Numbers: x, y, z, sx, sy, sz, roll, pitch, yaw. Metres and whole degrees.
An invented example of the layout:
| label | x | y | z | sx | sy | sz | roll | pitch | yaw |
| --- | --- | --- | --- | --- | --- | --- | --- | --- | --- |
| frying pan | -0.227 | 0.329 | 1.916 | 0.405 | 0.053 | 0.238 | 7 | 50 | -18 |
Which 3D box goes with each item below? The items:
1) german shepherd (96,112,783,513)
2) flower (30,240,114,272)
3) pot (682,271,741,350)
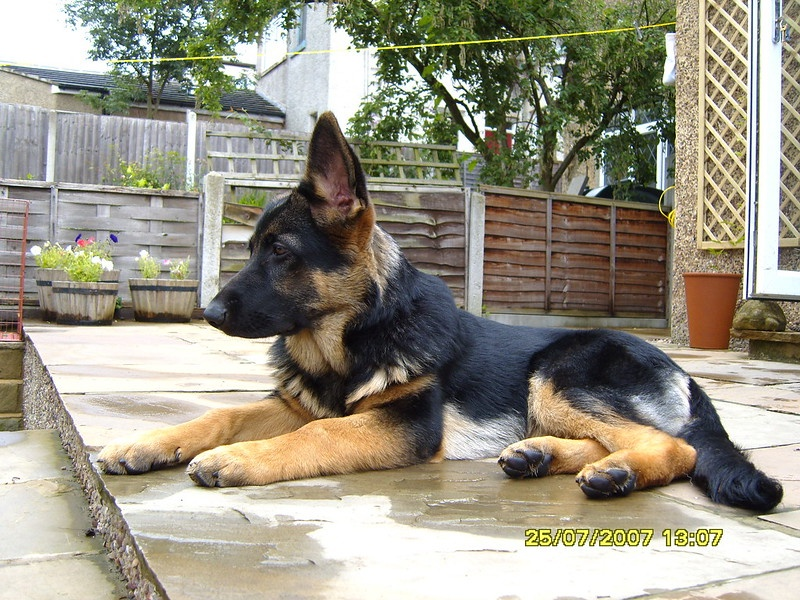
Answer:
| label | x | y | z | sx | sy | sz | roll | pitch | yaw |
| --- | --- | --- | --- | --- | --- | --- | --- | --- | --- |
| german shepherd | 0.197 | 0.122 | 4.177 | 2.857 | 1.342 | 1.674 | 3 | -1 | -7 |
| flower | -3.402 | -0.469 | 9.302 | 0.579 | 0.279 | 0.595 | 1 | 1 | -5 |
| pot | 2.843 | 0.103 | 8.367 | 0.576 | 0.676 | 0.523 | 1 | 0 | -23 |
